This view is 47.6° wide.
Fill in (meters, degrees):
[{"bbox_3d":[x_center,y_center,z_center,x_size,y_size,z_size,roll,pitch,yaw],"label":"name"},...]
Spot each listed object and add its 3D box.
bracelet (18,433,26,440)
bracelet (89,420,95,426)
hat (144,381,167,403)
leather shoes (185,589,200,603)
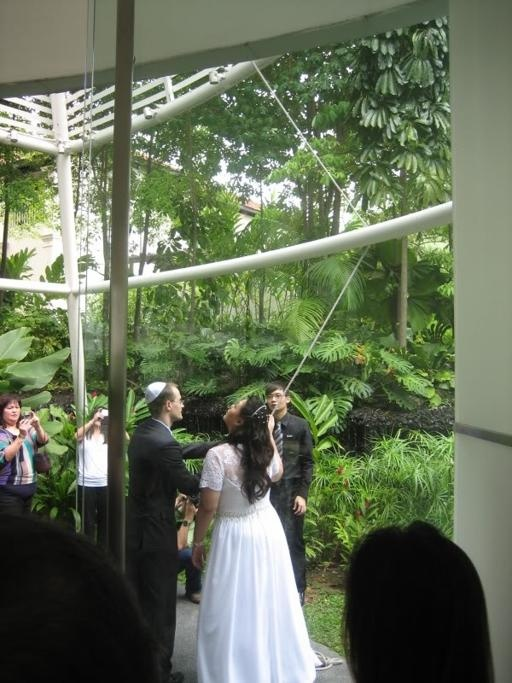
[{"bbox_3d":[-1.698,0.679,4.210,0.050,0.060,0.106,2,2,-22],"label":"bracelet"},{"bbox_3d":[-0.354,0.173,1.256,0.004,0.014,0.014,16,-23,-19],"label":"bracelet"},{"bbox_3d":[-0.565,0.280,3.267,0.102,0.139,0.073,13,-22,48],"label":"hat"},{"bbox_3d":[-0.386,1.550,3.540,0.055,0.047,0.119,4,-9,-27],"label":"leather shoes"}]
